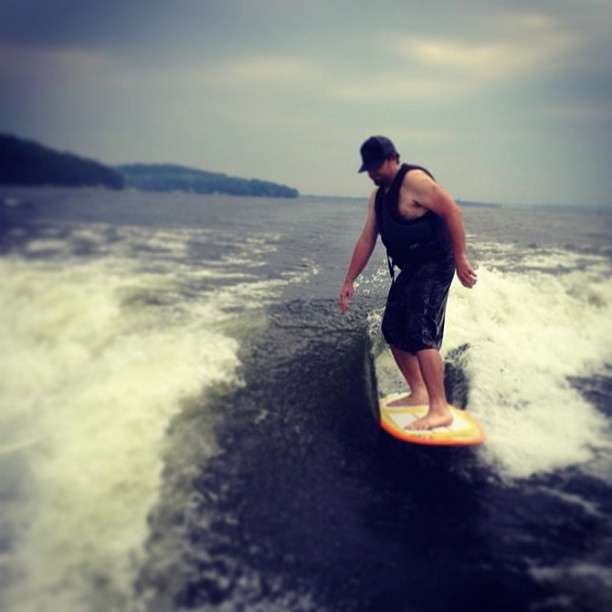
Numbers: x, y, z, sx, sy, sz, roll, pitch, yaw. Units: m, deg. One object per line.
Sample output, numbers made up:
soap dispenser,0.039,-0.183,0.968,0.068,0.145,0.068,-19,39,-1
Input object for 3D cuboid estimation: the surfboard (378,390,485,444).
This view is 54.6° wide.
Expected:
surfboard,0.675,0.593,3.235,0.561,0.078,0.590,5,12,10

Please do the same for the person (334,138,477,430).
person,0.552,-0.162,3.334,0.694,1.472,0.784,2,11,3

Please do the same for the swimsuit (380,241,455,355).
swimsuit,0.608,-0.046,3.261,0.378,0.636,0.332,6,12,18
